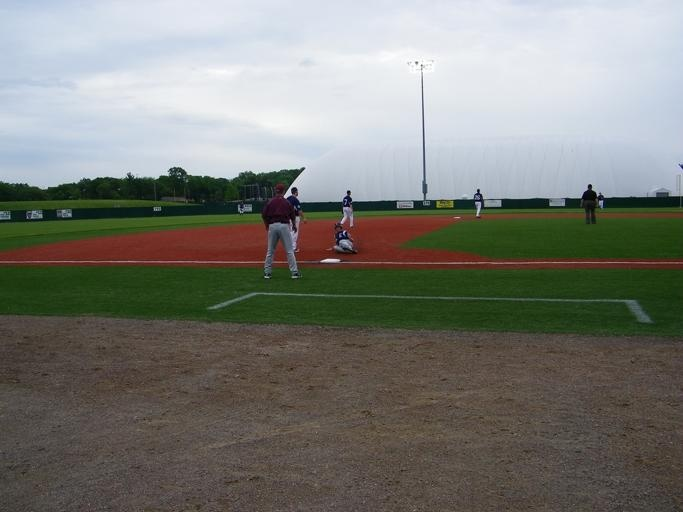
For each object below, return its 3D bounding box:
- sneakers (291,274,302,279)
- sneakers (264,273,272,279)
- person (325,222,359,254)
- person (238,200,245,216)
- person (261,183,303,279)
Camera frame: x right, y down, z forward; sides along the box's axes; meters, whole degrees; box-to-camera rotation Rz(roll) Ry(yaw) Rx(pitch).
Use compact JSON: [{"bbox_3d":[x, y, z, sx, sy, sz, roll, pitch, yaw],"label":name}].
[{"bbox_3d":[-0.897,0.398,12.450,0.081,0.090,0.214,2,5,18],"label":"sneakers"},{"bbox_3d":[-1.503,0.389,12.549,0.076,0.080,0.191,0,7,0],"label":"sneakers"},{"bbox_3d":[0.047,-0.489,17.602,0.562,0.535,1.323,-6,24,-3],"label":"person"},{"bbox_3d":[-9.616,-4.550,59.430,0.677,1.071,2.118,-3,11,-10],"label":"person"},{"bbox_3d":[-1.147,-0.504,12.564,0.826,1.850,0.665,-2,-4,16],"label":"person"}]
